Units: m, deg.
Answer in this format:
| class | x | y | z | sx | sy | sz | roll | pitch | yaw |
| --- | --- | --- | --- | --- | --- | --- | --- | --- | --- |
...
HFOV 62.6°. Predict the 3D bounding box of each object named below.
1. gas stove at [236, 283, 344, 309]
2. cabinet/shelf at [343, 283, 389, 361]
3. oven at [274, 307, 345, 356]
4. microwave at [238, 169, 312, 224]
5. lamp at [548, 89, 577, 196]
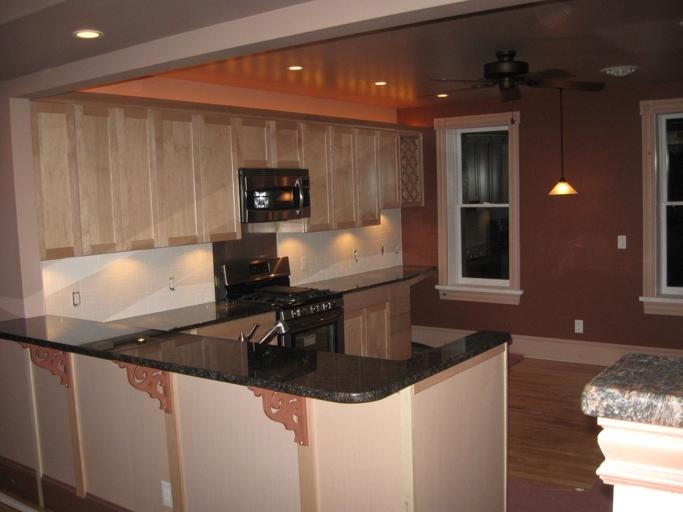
| class | x | y | z | sx | sy | sz | roll | pitch | yaw |
| --- | --- | --- | --- | --- | --- | --- | --- | --- | --- |
| gas stove | -0.518 | 0.371 | 5.195 | 0.662 | 0.120 | 0.945 | 1 | 6 | 35 |
| cabinet/shelf | 0.315 | 0.789 | 5.891 | 0.623 | 0.582 | 0.337 | -3 | -4 | 36 |
| oven | -0.288 | 0.604 | 4.585 | 0.293 | 0.502 | 0.549 | 2 | 3 | 43 |
| microwave | -0.581 | -0.521 | 5.056 | 0.641 | 0.384 | 0.332 | -3 | 3 | -15 |
| lamp | 2.246 | -1.171 | 5.708 | 0.293 | 1.133 | 0.892 | -1 | 5 | 21 |
